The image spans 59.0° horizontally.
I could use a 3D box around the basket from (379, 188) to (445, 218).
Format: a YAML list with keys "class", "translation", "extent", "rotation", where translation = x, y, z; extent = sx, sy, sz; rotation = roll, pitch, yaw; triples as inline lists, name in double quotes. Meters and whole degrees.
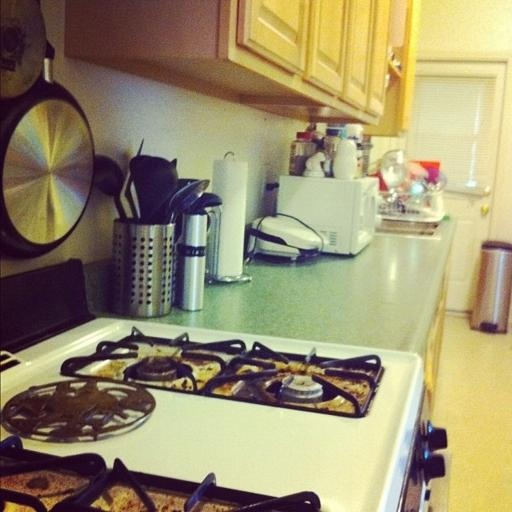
- class: "basket"
  translation: [0.917, -0.306, 2.686]
  extent: [0.348, 0.129, 0.261]
  rotation: [3, 7, 10]

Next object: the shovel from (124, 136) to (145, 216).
- class: "shovel"
  translation: [-0.275, -0.179, 1.028]
  extent: [0.045, 0.184, 0.229]
  rotation: [-1, 11, -13]

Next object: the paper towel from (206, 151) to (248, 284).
- class: "paper towel"
  translation: [-0.074, -0.093, 1.277]
  extent: [0.125, 0.344, 0.106]
  rotation: [-4, 12, -24]

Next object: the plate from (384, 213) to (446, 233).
- class: "plate"
  translation: [0.847, -0.184, 2.525]
  extent: [0.320, 0.075, 0.461]
  rotation: [5, 11, 21]

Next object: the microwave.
- class: "microwave"
  translation: [0.271, -0.167, 1.857]
  extent: [0.308, 0.264, 0.413]
  rotation: [4, 10, 17]
